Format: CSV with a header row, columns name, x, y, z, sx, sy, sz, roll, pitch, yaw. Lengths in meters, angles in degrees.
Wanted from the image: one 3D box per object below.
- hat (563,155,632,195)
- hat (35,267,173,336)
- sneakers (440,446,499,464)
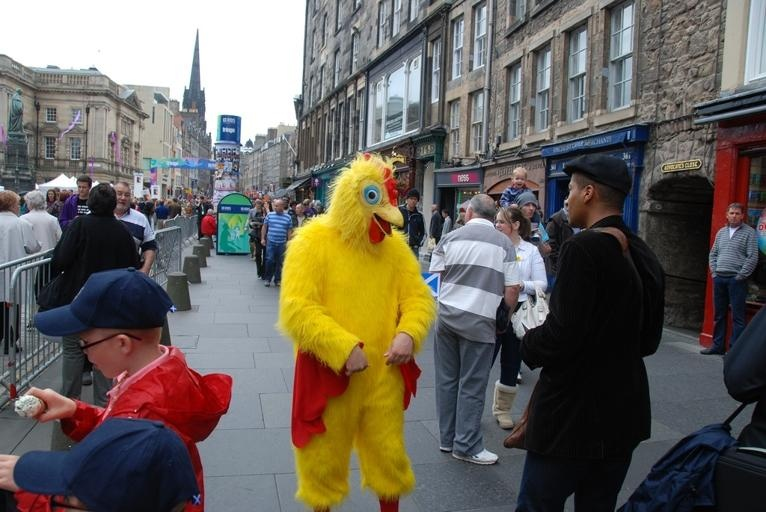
name,x,y,z,sx,sy,sz,roll,pitch,yaw
hat,1.390,-0.517,3.872,0.336,0.188,0.271,21,14,27
hat,-1.469,0.213,3.166,0.588,0.284,0.365,8,15,-11
sneakers,0.805,1.787,5.528,0.495,0.234,0.183,-1,1,9
